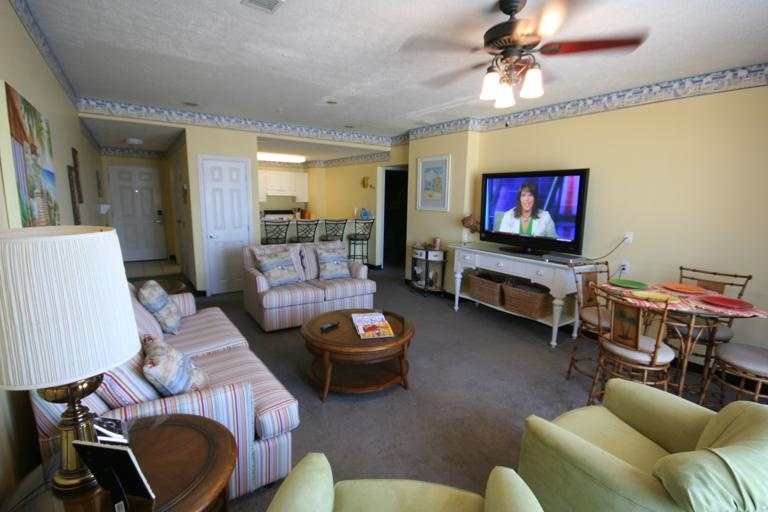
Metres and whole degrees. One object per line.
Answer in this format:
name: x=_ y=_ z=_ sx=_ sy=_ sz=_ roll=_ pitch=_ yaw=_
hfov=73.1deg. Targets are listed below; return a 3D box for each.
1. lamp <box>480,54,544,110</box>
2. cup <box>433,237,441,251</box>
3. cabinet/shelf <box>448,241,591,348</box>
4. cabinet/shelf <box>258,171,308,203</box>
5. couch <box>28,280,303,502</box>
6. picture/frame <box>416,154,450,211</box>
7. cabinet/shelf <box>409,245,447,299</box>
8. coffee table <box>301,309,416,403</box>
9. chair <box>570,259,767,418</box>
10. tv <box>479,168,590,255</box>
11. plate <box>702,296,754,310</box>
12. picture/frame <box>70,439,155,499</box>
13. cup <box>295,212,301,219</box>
lamp: x=1.025 y=-1.417 z=4.044 sx=0.415 sy=0.333 sz=0.384 roll=-3 pitch=5 yaw=14
cup: x=0.740 y=-0.155 z=7.122 sx=0.096 sy=0.153 sz=0.184 roll=1 pitch=11 yaw=4
cabinet/shelf: x=1.573 y=0.400 z=6.224 sx=0.631 sy=0.917 sz=1.628 roll=-6 pitch=14 yaw=-38
cabinet/shelf: x=-2.055 y=-1.393 z=10.523 sx=1.257 sy=0.673 sz=0.264 roll=-10 pitch=16 yaw=-44
couch: x=-1.770 y=0.845 z=4.341 sx=1.462 sy=1.136 sz=2.425 roll=-3 pitch=13 yaw=-27
picture/frame: x=0.707 y=-1.029 z=7.170 sx=0.055 sy=0.909 sz=0.812 roll=-3 pitch=5 yaw=-38
cabinet/shelf: x=0.596 y=0.213 z=7.389 sx=0.364 sy=0.665 sz=0.715 roll=-3 pitch=10 yaw=-27
coffee table: x=-0.266 y=0.888 z=4.866 sx=1.034 sy=0.543 sz=1.036 roll=14 pitch=12 yaw=22
chair: x=2.408 y=0.645 z=4.629 sx=1.323 sy=1.051 sz=1.238 roll=2 pitch=10 yaw=0
tv: x=1.719 y=-0.483 z=6.038 sx=0.378 sy=1.018 sz=1.399 roll=-14 pitch=16 yaw=-43
plate: x=2.796 y=0.387 z=4.208 sx=0.352 sy=0.034 sz=0.246 roll=7 pitch=12 yaw=31
picture/frame: x=-1.490 y=1.168 z=2.804 sx=0.405 sy=0.398 sz=0.043 roll=4 pitch=34 yaw=18
cup: x=-1.762 y=-0.816 z=10.644 sx=0.131 sy=0.205 sz=0.131 roll=2 pitch=6 yaw=0
